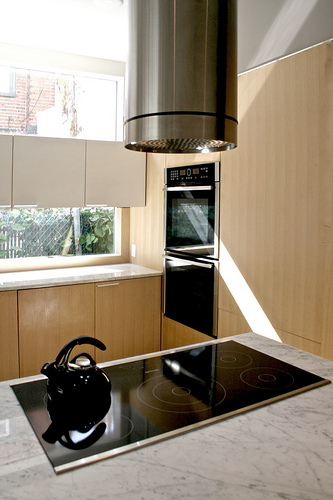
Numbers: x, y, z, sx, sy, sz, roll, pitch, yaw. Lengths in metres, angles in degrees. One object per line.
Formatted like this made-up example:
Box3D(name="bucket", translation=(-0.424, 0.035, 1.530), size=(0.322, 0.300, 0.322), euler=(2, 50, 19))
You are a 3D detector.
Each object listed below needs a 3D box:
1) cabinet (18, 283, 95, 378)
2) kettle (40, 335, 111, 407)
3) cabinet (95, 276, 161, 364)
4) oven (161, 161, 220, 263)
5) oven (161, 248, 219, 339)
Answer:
Box3D(name="cabinet", translation=(-0.748, 0.620, 3.123), size=(0.636, 0.871, 0.486), euler=(4, 18, -3))
Box3D(name="kettle", translation=(-0.245, 0.320, 1.107), size=(0.187, 0.182, 0.130), euler=(5, 1, -19))
Box3D(name="cabinet", translation=(-0.385, 0.530, 3.310), size=(0.455, 0.611, 0.358), euler=(-10, 5, 11))
Box3D(name="oven", translation=(0.315, -0.262, 2.997), size=(0.563, 0.725, 0.496), euler=(7, 9, 44))
Box3D(name="oven", translation=(0.270, 0.274, 3.031), size=(0.595, 0.538, 0.431), euler=(8, 13, 42))
